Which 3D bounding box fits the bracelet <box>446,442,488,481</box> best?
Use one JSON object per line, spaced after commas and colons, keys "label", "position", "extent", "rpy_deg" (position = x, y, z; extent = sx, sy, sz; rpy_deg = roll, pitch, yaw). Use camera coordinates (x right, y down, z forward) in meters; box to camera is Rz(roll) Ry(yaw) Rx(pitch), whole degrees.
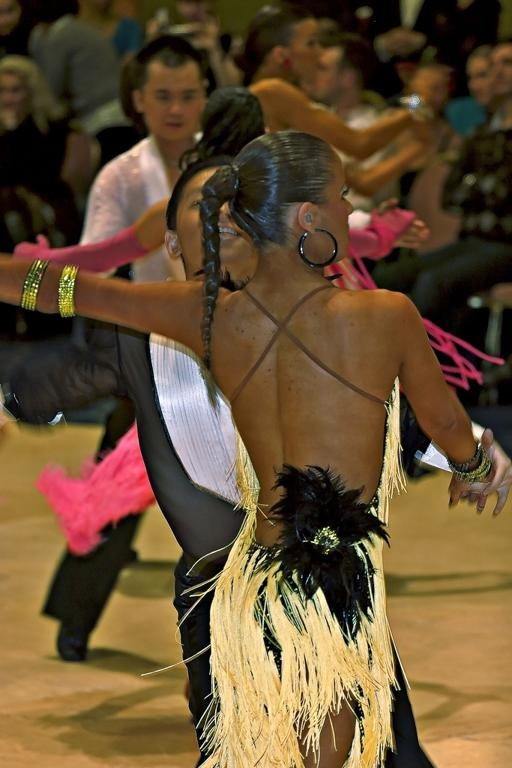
{"label": "bracelet", "position": [0.314, 0.118, 1.150], "extent": [0.058, 0.048, 0.066], "rpy_deg": [-5, 12, 2]}

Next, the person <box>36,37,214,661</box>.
{"label": "person", "position": [-0.467, -0.249, 2.531], "extent": [0.653, 1.791, 0.528], "rpy_deg": [1, 40, -17]}
